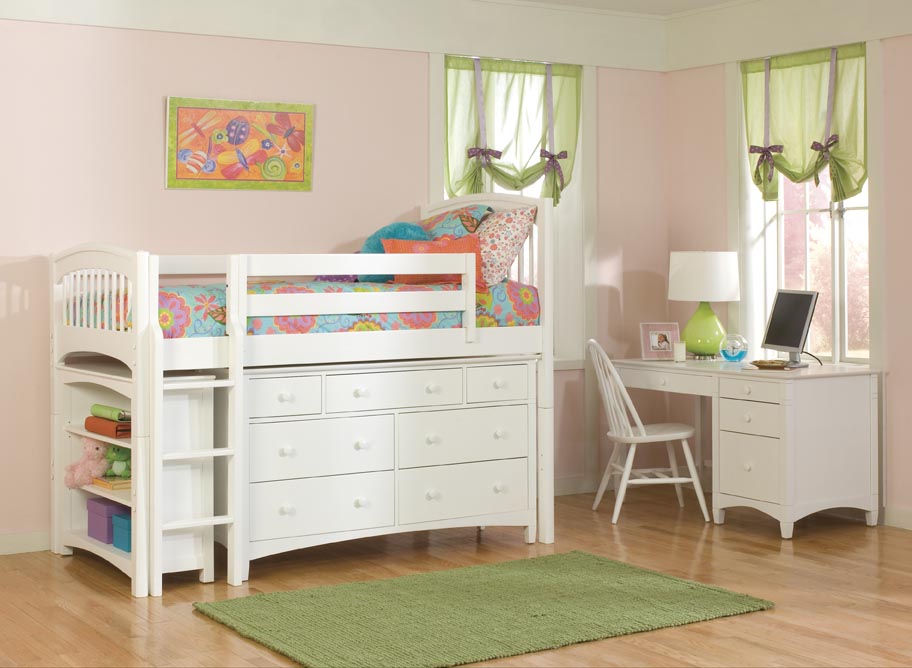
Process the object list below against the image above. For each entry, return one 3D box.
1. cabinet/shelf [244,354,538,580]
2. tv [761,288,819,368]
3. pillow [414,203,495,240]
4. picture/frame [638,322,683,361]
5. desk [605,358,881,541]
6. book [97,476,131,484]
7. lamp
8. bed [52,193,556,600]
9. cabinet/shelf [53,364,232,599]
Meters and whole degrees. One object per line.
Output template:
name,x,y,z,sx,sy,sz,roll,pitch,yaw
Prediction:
cabinet/shelf,-0.415,0.622,4.152,1.607,0.937,0.547,0,0,-31
tv,2.045,-0.037,4.790,0.183,0.525,0.440,13,0,-20
pillow,0.018,-0.623,4.369,0.268,0.073,0.264,-19,19,-16
picture/frame,1.385,0.051,5.323,0.261,0.223,0.018,1,-5,-18
desk,1.668,0.637,5.022,0.722,0.897,1.462,-2,3,-28
book,-1.629,0.695,3.732,0.096,0.018,0.063,1,-3,-13
lamp,1.577,-0.188,5.030,0.414,0.674,0.195,1,7,17
bed,-0.753,0.283,4.263,2.248,1.766,1.297,3,-4,-36
cabinet/shelf,-1.415,0.694,3.620,0.400,0.913,0.935,-3,5,-37
